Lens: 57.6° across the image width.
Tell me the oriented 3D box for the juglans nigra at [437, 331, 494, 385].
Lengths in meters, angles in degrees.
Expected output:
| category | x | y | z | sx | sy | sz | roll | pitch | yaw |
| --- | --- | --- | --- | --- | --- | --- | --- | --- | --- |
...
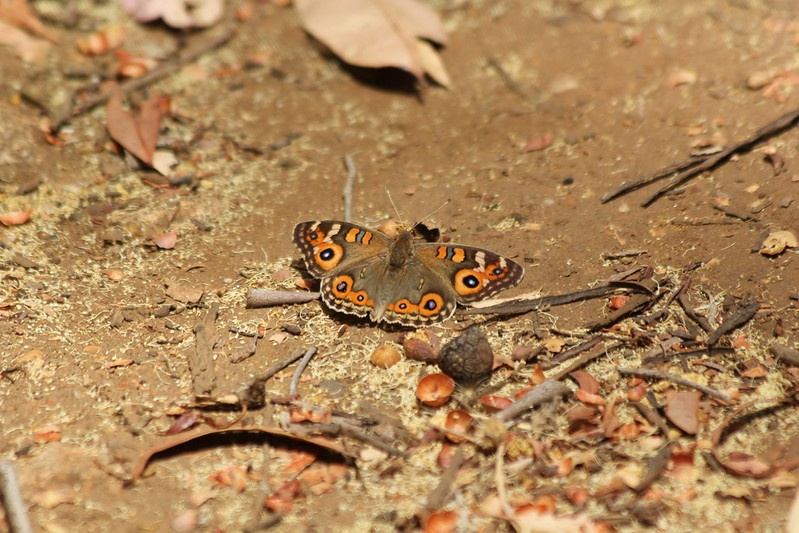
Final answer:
| category | x | y | z | sx | sy | sz | roll | pitch | yaw |
| --- | --- | --- | --- | --- | --- | --- | --- | --- | --- |
| juglans nigra | 0.457 | 0.637 | 4.964 | 0.380 | 0.153 | 0.367 | 20 | 93 | 15 |
